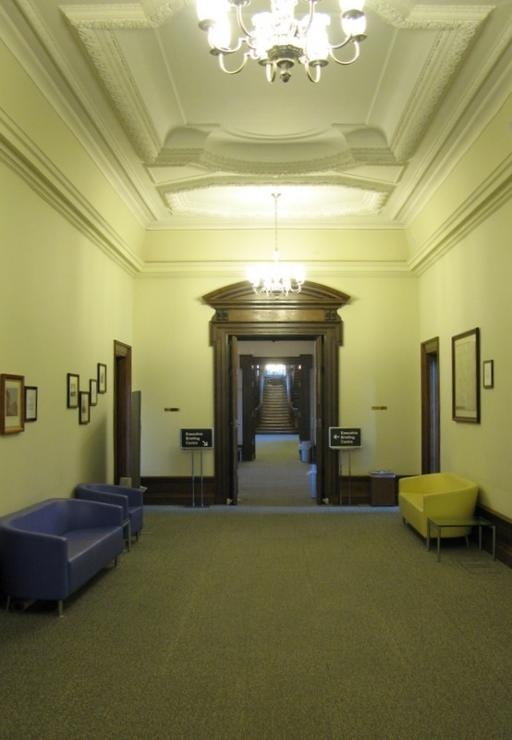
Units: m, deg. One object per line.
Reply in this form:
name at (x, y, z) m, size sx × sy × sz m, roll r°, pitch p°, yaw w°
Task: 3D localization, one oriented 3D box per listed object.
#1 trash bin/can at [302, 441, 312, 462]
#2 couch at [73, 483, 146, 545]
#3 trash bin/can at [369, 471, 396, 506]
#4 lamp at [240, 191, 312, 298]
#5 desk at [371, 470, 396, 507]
trash bin/can at (1.388, 2.347, 14.333) m, size 0.301 × 0.608 × 0.675 m, roll 0°, pitch -6°, yaw 0°
couch at (-1.838, 1.668, 6.385) m, size 0.666 × 0.894 × 0.769 m, roll 0°, pitch -3°, yaw 8°
trash bin/can at (2.289, 2.082, 9.081) m, size 0.403 × 0.687 × 0.624 m, roll -1°, pitch -2°, yaw 7°
lamp at (0.324, -1.993, 8.734) m, size 1.008 × 1.578 × 1.436 m, roll -1°, pitch -5°, yaw 6°
desk at (2.280, 2.067, 9.044) m, size 0.409 × 0.691 × 0.626 m, roll -1°, pitch -2°, yaw 10°
